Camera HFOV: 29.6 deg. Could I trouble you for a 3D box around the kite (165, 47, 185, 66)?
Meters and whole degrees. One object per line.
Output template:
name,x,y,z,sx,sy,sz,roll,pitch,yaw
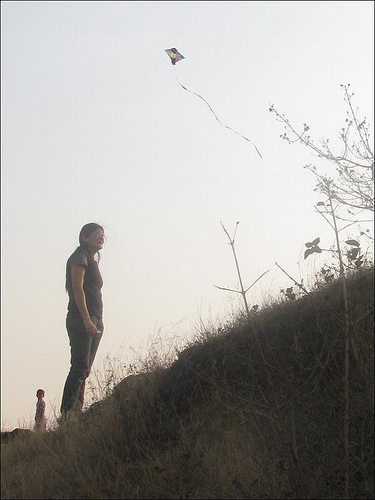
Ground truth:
kite,-0.115,-1.749,6.502,0.109,0.212,0.166,-18,-25,34

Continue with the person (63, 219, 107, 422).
person,-0.967,0.636,6.663,0.377,1.813,0.476,2,-19,-13

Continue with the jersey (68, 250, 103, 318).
jersey,-0.910,0.306,6.934,0.211,0.598,0.471,5,4,18
